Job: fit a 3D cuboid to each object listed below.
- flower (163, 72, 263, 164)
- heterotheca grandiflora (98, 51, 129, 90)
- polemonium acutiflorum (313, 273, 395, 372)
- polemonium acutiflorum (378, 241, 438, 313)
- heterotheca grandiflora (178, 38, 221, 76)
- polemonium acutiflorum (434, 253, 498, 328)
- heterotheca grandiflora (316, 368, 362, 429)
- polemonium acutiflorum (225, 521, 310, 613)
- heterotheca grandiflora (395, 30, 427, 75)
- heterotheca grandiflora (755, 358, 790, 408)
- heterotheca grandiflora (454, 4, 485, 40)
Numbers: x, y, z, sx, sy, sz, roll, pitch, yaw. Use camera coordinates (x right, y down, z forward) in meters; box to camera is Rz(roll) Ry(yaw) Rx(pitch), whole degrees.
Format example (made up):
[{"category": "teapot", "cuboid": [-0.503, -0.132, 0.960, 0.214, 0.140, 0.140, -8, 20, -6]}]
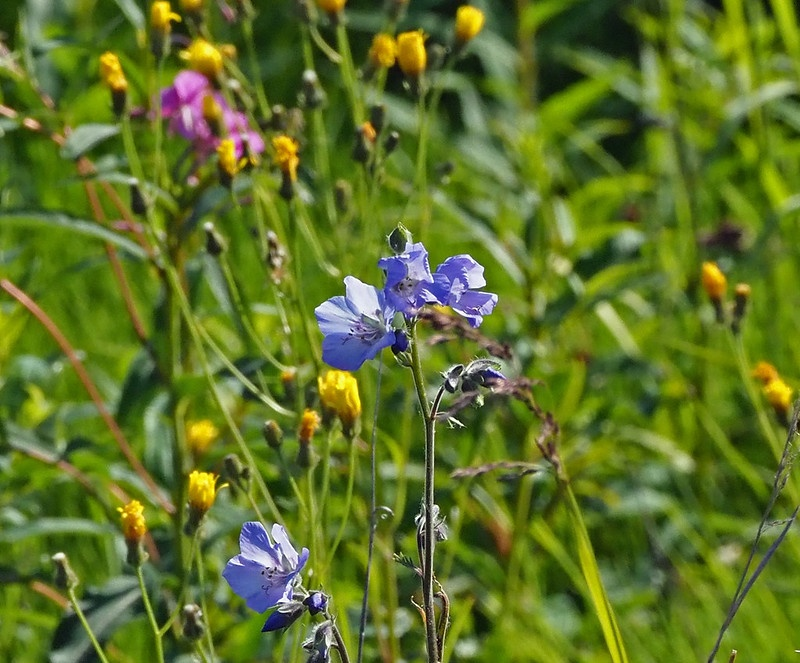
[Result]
[{"category": "flower", "cuboid": [-0.439, -0.506, 2.903, 0.129, 0.289, 0.174, 7, 15, 41]}, {"category": "heterotheca grandiflora", "cuboid": [-0.614, -0.557, 2.726, 0.045, 0.099, 0.042, -26, 6, -1]}, {"category": "polemonium acutiflorum", "cuboid": [-0.092, -0.013, 2.432, 0.131, 0.107, 0.133, -12, 44, -13]}, {"category": "polemonium acutiflorum", "cuboid": [0.014, -0.102, 2.349, 0.093, 0.130, 0.055, -13, 8, -22]}, {"category": "heterotheca grandiflora", "cuboid": [-0.441, -0.622, 2.830, 0.091, 0.093, 0.040, 21, 30, 27]}, {"category": "polemonium acutiflorum", "cuboid": [0.114, -0.063, 2.427, 0.071, 0.140, 0.123, 10, 48, 41]}, {"category": "heterotheca grandiflora", "cuboid": [-0.128, 0.125, 2.611, 0.079, 0.080, 0.132, -6, 44, -7]}, {"category": "polemonium acutiflorum", "cuboid": [-0.269, 0.458, 2.400, 0.139, 0.085, 0.189, 1, 72, 0]}, {"category": "heterotheca grandiflora", "cuboid": [0.024, -0.642, 2.822, 0.065, 0.098, 0.150, -1, 44, -1]}, {"category": "heterotheca grandiflora", "cuboid": [0.841, 0.113, 2.880, 0.045, 0.065, 0.169, -12, 40, 2]}, {"category": "heterotheca grandiflora", "cuboid": [0.163, -0.732, 2.968, 0.062, 0.100, 0.125, 1, 43, 2]}]
